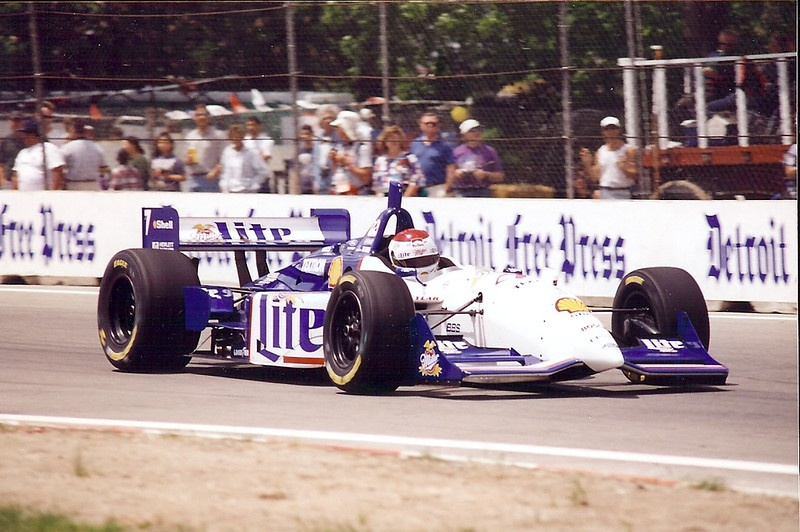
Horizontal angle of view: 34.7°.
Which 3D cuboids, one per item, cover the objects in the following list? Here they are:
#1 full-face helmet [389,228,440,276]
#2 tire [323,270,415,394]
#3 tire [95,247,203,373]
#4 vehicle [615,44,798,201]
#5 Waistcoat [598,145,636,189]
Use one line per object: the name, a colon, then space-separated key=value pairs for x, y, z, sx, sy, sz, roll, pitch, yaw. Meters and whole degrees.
full-face helmet: x=0.114 y=-0.160 z=12.774 sx=0.427 sy=0.372 sz=0.493 roll=-16 pitch=14 yaw=-15
tire: x=-0.273 y=0.650 z=12.024 sx=0.481 sy=1.062 sz=1.143 roll=5 pitch=-9 yaw=-36
tire: x=-2.543 y=0.482 z=13.157 sx=0.550 sy=1.050 sz=1.110 roll=5 pitch=14 yaw=-38
vehicle: x=3.849 y=-1.849 z=16.140 sx=2.161 sy=1.748 sz=0.692 roll=1 pitch=15 yaw=8
Waistcoat: x=2.786 y=-1.259 z=16.345 sx=0.550 sy=0.600 sz=0.391 roll=-7 pitch=-2 yaw=30
